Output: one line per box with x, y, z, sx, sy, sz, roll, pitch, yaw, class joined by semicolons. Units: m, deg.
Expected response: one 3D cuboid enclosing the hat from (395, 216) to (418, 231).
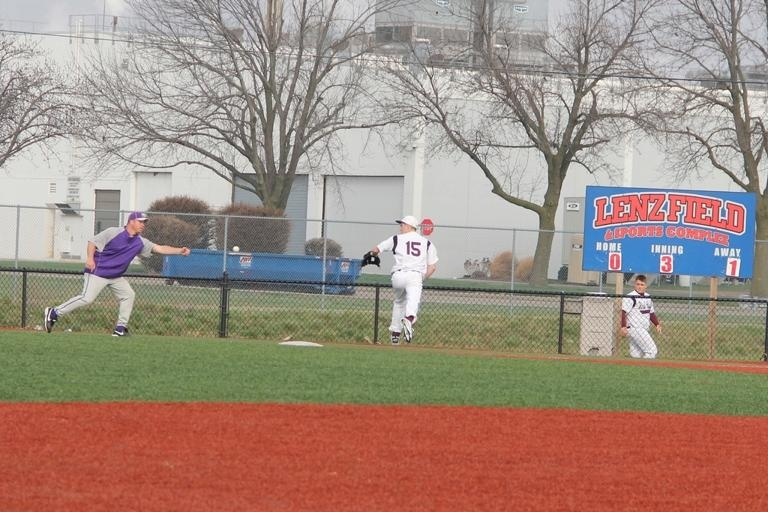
0.791;-1.133;59.041;0.694;0.413;0.503;9;4;15;hat

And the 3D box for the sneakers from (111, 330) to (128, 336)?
-9.082;2.714;58.472;0.196;0.258;0.592;9;7;43;sneakers

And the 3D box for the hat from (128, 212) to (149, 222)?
-8.423;-1.306;58.204;0.656;0.394;0.418;10;4;27;hat
